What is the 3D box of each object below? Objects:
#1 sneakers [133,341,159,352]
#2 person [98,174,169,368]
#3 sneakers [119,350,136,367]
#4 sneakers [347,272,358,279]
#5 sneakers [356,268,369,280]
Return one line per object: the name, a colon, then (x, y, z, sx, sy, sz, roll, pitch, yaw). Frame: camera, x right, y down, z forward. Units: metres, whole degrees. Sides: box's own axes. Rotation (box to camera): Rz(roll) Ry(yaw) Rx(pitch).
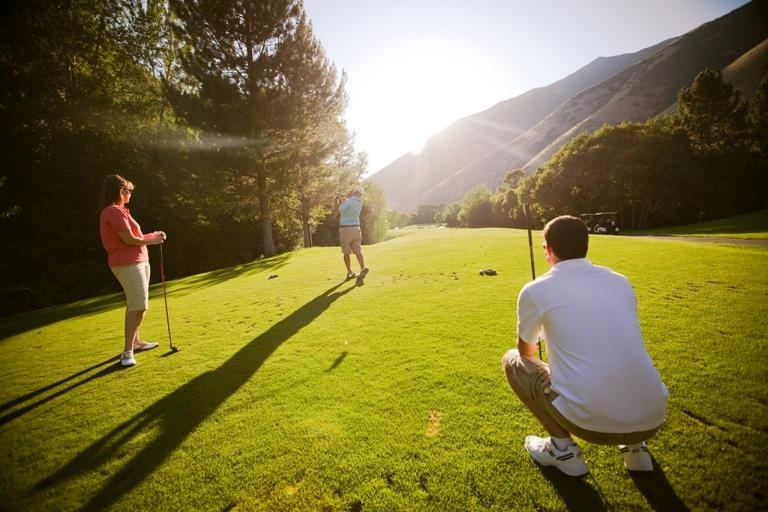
sneakers: (-5.128, 1.937, 8.891, 0.547, 0.230, 0.187, -1, -1, -20)
person: (-5.255, 0.249, 8.496, 0.963, 3.312, 0.950, -11, 7, -34)
sneakers: (-5.201, 2.078, 8.329, 0.285, 0.271, 0.345, -11, 7, -34)
sneakers: (-1.055, 0.643, 12.961, 0.426, 0.186, 0.172, -8, -2, 23)
sneakers: (-0.672, 0.634, 12.719, 0.182, 0.494, 0.223, 21, 8, -21)
